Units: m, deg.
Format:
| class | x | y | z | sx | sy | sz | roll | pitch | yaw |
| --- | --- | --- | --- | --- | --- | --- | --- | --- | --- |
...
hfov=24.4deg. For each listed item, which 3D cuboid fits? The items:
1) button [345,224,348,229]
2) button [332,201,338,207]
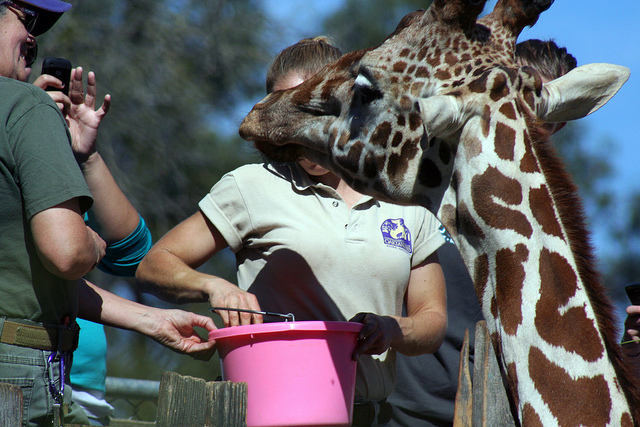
| class | x | y | z | sx | sy | sz | roll | pitch | yaw |
| --- | --- | --- | --- | --- | --- | --- | --- | --- | --- |
| button | 0.167 | 0.087 | 9.762 | 0.015 | 0.022 | 0.021 | -2 | -24 | 12 |
| button | 0.100 | -0.061 | 9.815 | 0.028 | 0.031 | 0.007 | 3 | -16 | -3 |
